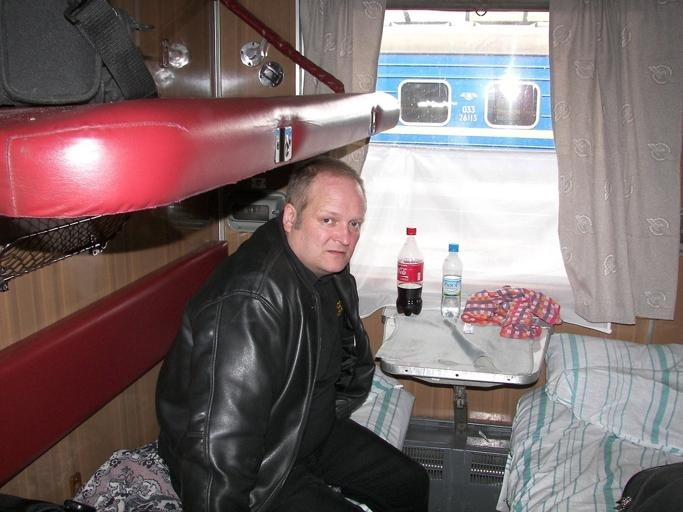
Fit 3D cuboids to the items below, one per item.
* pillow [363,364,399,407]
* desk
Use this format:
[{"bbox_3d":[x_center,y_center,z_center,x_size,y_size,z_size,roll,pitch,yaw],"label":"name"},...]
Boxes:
[{"bbox_3d":[0.205,0.704,2.944,0.146,0.269,0.277,0,3,7],"label":"pillow"},{"bbox_3d":[0.596,0.532,2.709,0.535,0.405,0.610,4,23,16],"label":"desk"}]
